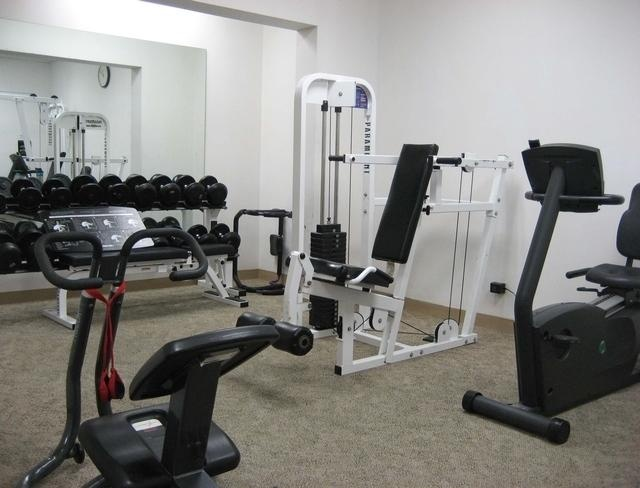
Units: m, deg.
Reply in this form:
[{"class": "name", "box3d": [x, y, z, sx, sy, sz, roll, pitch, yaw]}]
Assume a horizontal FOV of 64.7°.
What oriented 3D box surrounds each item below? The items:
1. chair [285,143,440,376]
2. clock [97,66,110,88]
[{"class": "chair", "box3d": [0.234, 0.035, 3.113, 0.860, 1.340, 0.672, -4, 13, -26]}, {"class": "clock", "box3d": [-1.926, -1.487, 4.459, 0.023, 0.196, 0.158, 8, 11, 24]}]
